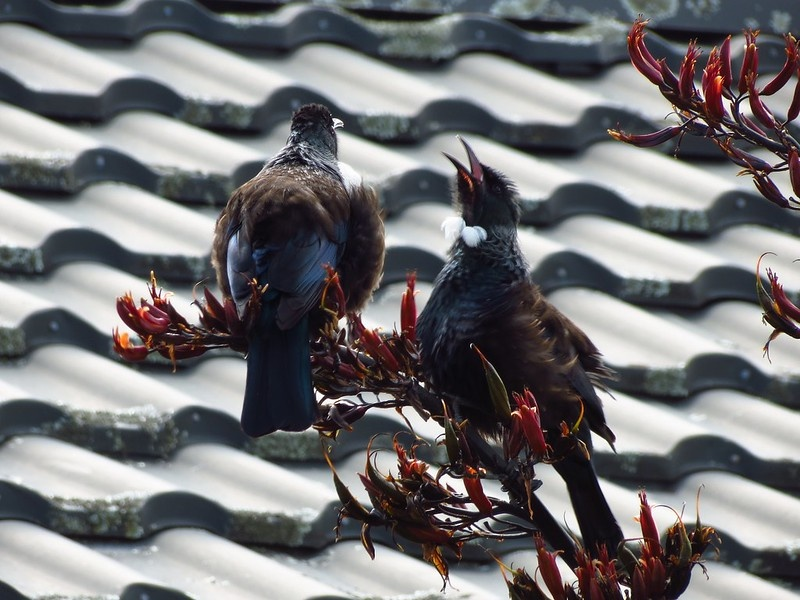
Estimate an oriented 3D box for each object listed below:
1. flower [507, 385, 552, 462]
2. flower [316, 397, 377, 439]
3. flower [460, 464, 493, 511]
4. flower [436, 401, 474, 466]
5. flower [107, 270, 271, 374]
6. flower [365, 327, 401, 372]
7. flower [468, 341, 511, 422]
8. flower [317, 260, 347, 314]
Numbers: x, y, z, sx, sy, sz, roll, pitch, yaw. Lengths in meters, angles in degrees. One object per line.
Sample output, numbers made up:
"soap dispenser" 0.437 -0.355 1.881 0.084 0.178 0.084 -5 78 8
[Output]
"flower" 0.440 0.433 9.327 0.092 0.275 0.096 -24 8 10
"flower" -0.214 0.418 9.495 0.154 0.055 0.152 -16 4 -20
"flower" 0.257 0.660 9.323 0.059 0.202 0.061 -22 15 7
"flower" 0.186 0.467 9.362 0.128 0.143 0.214 7 4 -5
"flower" -0.796 0.100 9.709 0.500 0.327 0.304 -1 3 -15
"flower" -0.085 0.179 9.434 0.068 0.204 0.073 -39 -1 -3
"flower" 0.307 0.294 9.379 0.165 0.172 0.192 7 4 1
"flower" -0.270 -0.041 9.867 0.094 0.071 0.176 36 20 -17
